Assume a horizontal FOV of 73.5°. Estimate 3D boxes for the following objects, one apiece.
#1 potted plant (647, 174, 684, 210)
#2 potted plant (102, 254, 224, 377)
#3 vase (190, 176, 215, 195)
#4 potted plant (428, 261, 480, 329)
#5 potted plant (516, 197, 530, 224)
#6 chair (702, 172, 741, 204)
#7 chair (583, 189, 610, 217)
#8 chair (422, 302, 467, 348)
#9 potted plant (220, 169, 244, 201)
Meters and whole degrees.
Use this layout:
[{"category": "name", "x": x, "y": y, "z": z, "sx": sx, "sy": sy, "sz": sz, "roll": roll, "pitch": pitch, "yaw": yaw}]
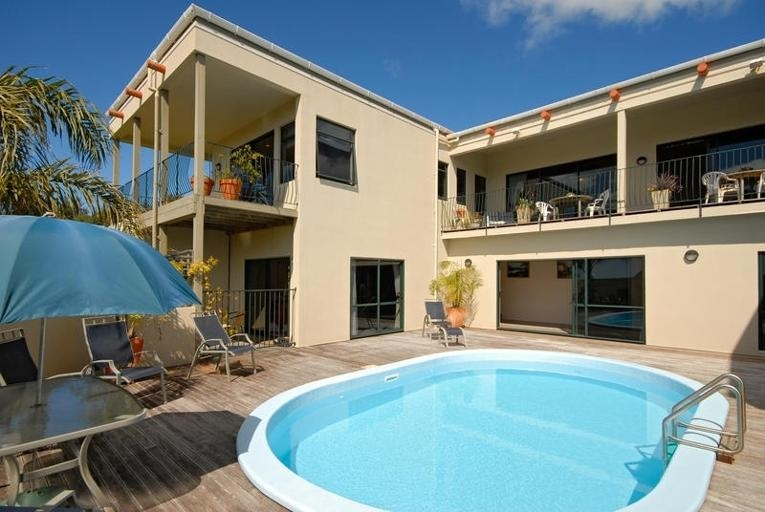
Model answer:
[{"category": "potted plant", "x": 8.392, "y": -1.885, "z": 15.031, "sx": 1.180, "sy": 1.293, "sz": 0.784, "roll": -2, "pitch": 4, "yaw": -44}, {"category": "potted plant", "x": -5.296, "y": 1.413, "z": 12.562, "sx": 1.329, "sy": 1.213, "sz": 1.554, "roll": -19, "pitch": 5, "yaw": 46}, {"category": "vase", "x": -4.773, "y": -1.877, "z": 13.503, "sx": 0.534, "sy": 0.438, "sz": 0.565, "roll": 0, "pitch": -9, "yaw": -9}, {"category": "potted plant", "x": 2.863, "y": 1.319, "z": 18.145, "sx": 1.959, "sy": 2.559, "sz": 2.011, "roll": 1, "pitch": -11, "yaw": 1}, {"category": "potted plant", "x": 4.601, "y": -1.462, "z": 16.664, "sx": 0.491, "sy": 0.873, "sz": 0.609, "roll": -2, "pitch": -3, "yaw": 23}, {"category": "chair", "x": 9.182, "y": -1.791, "z": 13.825, "sx": 0.651, "sy": 0.951, "sz": 0.739, "roll": 4, "pitch": -7, "yaw": -25}, {"category": "chair", "x": 6.564, "y": -1.548, "z": 15.649, "sx": 0.622, "sy": 0.796, "sz": 1.025, "roll": -2, "pitch": -4, "yaw": 22}, {"category": "chair", "x": 1.814, "y": 1.930, "z": 15.360, "sx": 0.724, "sy": 1.241, "sz": 1.786, "roll": 2, "pitch": 1, "yaw": -17}, {"category": "potted plant", "x": -4.081, "y": -1.887, "z": 13.768, "sx": 0.637, "sy": 0.740, "sz": 0.707, "roll": -1, "pitch": -9, "yaw": -6}]
